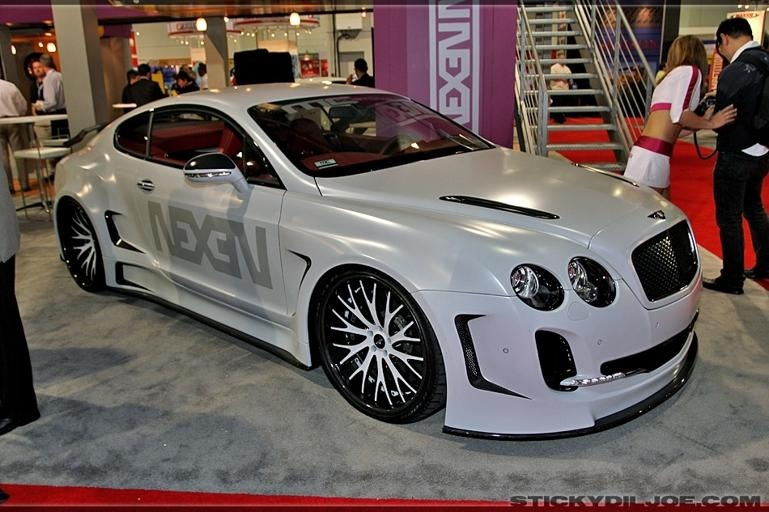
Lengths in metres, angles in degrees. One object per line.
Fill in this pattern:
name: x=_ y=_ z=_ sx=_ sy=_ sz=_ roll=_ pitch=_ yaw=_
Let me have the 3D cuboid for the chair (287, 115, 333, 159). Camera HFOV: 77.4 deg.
chair: x=-0.529 y=-0.878 z=3.569 sx=0.356 sy=0.319 sz=0.278 roll=4 pitch=16 yaw=12

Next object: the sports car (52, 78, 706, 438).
sports car: x=-0.519 y=-0.387 z=4.025 sx=5.498 sy=2.003 sz=2.143 roll=13 pitch=22 yaw=34

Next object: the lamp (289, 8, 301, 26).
lamp: x=-3.355 y=-8.870 z=17.993 sx=0.351 sy=0.465 sz=1.245 roll=-5 pitch=19 yaw=-12
